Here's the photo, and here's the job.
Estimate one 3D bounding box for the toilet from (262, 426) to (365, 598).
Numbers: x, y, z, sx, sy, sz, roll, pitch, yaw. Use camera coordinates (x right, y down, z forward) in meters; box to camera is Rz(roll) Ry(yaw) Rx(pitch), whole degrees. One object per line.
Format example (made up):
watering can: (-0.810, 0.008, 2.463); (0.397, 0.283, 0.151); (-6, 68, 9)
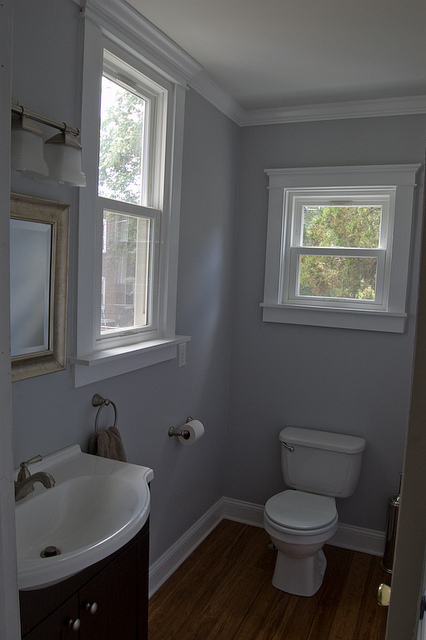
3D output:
toilet: (0.470, 0.972, 2.468); (0.407, 0.672, 0.619); (6, 7, 31)

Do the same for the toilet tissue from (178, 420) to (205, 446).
toilet tissue: (-0.100, 0.536, 2.325); (0.110, 0.097, 0.154); (4, 4, 26)

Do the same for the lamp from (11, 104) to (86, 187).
lamp: (-0.411, -0.417, 1.193); (0.079, 0.154, 0.223); (4, 5, 24)

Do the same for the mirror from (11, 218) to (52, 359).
mirror: (-0.511, -0.085, 1.372); (0.022, 0.378, 0.158); (3, 3, 21)
